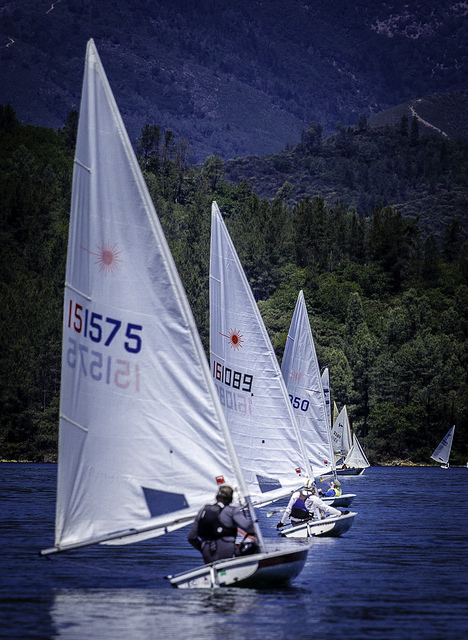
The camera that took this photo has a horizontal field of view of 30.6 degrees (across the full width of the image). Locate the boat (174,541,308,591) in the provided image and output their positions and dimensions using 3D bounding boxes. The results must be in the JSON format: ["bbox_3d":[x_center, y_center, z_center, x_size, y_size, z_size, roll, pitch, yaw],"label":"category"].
[{"bbox_3d":[0.374,3.587,12.332,1.469,0.408,1.014,-7,-4,-39],"label":"boat"}]

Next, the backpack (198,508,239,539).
[{"bbox_3d":[-0.221,2.725,11.485,0.390,0.390,0.411,31,-50,-26],"label":"backpack"}]

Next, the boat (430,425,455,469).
[{"bbox_3d":[19.820,12.287,81.809,1.755,3.690,2.711,4,-1,8],"label":"boat"}]

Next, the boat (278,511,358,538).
[{"bbox_3d":[2.384,5.671,23.256,2.426,0.671,0.592,5,-2,-40],"label":"boat"}]

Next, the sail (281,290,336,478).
[{"bbox_3d":[2.118,2.648,30.437,1.642,7.197,1.649,-6,2,25],"label":"sail"}]

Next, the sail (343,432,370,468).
[{"bbox_3d":[9.739,10.241,66.827,2.152,2.312,2.049,-3,3,29],"label":"sail"}]
